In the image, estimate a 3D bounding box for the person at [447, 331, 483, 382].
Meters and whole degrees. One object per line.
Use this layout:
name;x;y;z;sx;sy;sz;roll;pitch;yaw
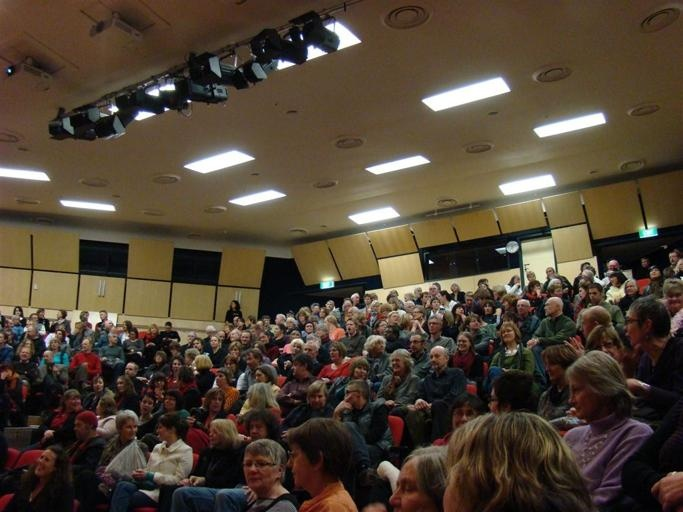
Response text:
person;1.545;1.341;6.069;0.509;0.756;0.505;-1;1;24

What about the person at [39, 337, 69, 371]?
person;-5.971;2.107;9.875;0.541;0.841;0.446;9;-18;-37

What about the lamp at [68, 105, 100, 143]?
lamp;-4.021;-2.126;7.499;0.656;0.411;0.311;-11;-9;35

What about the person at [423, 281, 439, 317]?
person;2.034;0.982;10.752;0.324;0.298;0.854;-7;36;13

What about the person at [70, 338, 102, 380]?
person;-5.038;2.058;9.352;0.551;0.812;0.641;4;-7;-26

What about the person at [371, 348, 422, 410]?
person;0.565;1.504;5.573;0.545;0.756;0.542;26;-34;-28

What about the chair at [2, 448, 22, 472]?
chair;-3.743;2.337;5.423;0.177;0.204;0.224;3;14;-11

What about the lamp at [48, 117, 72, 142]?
lamp;-4.506;-2.034;7.671;0.350;0.341;0.336;12;19;37

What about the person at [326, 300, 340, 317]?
person;-0.182;1.293;11.479;0.351;0.436;0.938;-5;-8;-2

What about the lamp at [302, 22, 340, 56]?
lamp;-0.272;-2.890;6.092;0.456;0.457;0.213;2;-10;-42

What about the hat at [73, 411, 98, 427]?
hat;-2.876;1.808;5.373;0.213;0.168;0.152;37;-18;-26

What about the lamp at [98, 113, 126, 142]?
lamp;-3.512;-1.988;7.231;0.557;0.316;0.156;-10;-9;30

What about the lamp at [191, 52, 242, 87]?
lamp;-1.639;-2.533;6.428;0.368;0.336;0.674;-8;-11;36

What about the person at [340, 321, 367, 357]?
person;0.152;1.468;8.204;0.491;0.764;0.486;-6;-16;21

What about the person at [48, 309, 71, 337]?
person;-7.580;1.819;12.761;0.419;0.890;0.314;-10;-32;4

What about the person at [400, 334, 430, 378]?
person;1.023;1.391;6.302;0.326;0.729;0.266;-1;-10;24

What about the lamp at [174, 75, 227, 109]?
lamp;-1.925;-2.239;6.563;0.577;0.229;0.346;3;-1;-35

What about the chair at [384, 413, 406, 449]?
chair;0.548;1.757;4.783;0.220;0.300;0.245;-15;-25;37

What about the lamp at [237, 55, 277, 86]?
lamp;-1.120;-2.538;6.418;0.467;0.233;0.370;-23;-53;19

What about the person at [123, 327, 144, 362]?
person;-4.861;2.212;11.080;0.463;1.089;0.596;1;-10;-24

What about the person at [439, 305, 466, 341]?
person;1.827;1.110;7.791;0.336;0.376;1.140;-2;-2;18

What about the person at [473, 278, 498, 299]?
person;3.499;0.768;11.444;0.299;0.281;0.787;-3;35;7
